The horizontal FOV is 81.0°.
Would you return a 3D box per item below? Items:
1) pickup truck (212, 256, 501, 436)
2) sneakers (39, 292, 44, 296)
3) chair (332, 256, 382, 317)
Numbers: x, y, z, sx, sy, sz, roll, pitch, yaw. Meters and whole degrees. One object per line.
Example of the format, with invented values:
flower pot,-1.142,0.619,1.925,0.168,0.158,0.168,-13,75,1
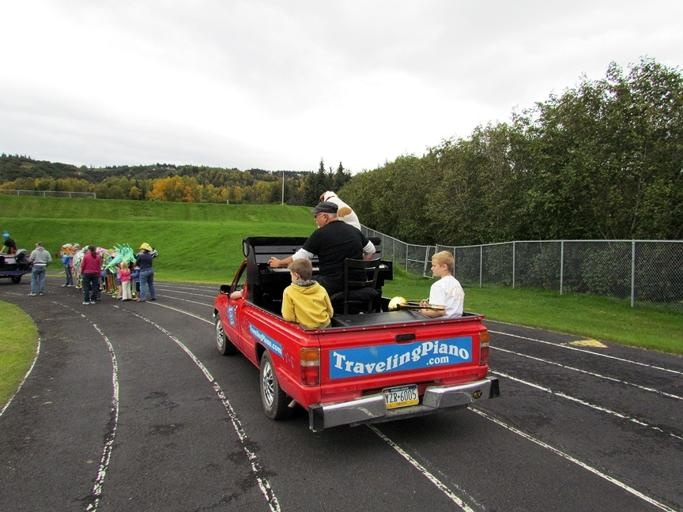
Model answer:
pickup truck,-0.357,1.085,6.110,1.668,1.341,3.499,2,2,-28
sneakers,-14.240,1.843,19.277,0.115,0.113,0.210,-2,11,-32
chair,0.280,0.456,6.463,0.801,1.189,0.788,-3,9,-26
